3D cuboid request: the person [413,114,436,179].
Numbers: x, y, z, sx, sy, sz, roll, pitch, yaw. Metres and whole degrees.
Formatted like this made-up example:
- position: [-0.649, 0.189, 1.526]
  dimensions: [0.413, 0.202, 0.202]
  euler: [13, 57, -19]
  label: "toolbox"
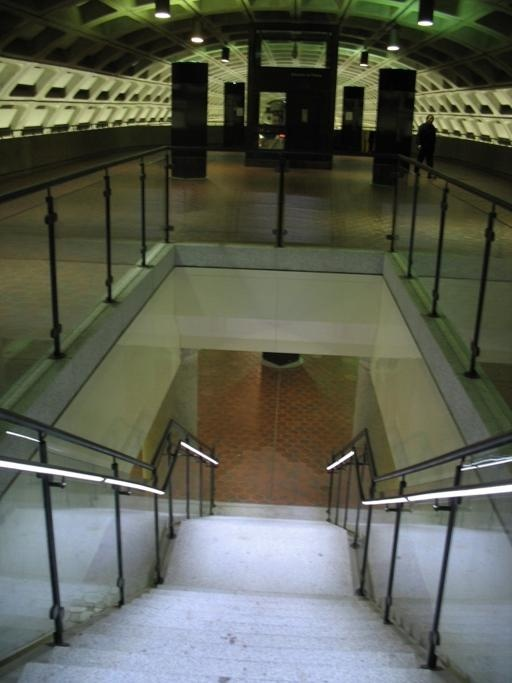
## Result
- position: [4.228, -5.072, 12.278]
  dimensions: [0.446, 1.294, 2.540]
  euler: [7, 18, 16]
  label: "person"
